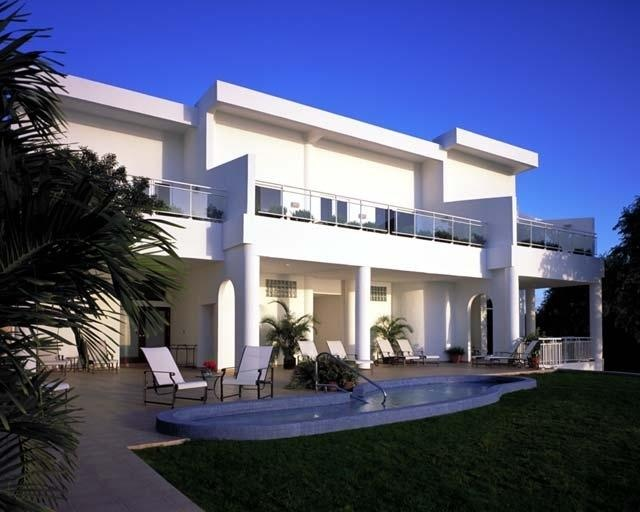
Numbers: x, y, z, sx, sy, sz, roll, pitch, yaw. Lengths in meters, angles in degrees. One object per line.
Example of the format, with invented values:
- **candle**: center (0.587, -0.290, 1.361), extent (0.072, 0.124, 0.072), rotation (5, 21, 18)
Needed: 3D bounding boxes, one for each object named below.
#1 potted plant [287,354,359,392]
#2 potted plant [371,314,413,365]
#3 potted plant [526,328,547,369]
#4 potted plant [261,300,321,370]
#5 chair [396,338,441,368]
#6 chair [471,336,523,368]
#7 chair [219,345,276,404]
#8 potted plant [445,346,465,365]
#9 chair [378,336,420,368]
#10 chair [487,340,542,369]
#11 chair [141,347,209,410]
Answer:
- **potted plant**: center (0.079, 2.749, 13.545), extent (1.098, 0.591, 1.157), rotation (-12, -19, 33)
- **potted plant**: center (2.969, 3.354, 24.196), extent (1.593, 1.801, 1.594), rotation (9, -12, -42)
- **potted plant**: center (7.761, 3.369, 20.854), extent (0.236, 1.164, 0.676), rotation (8, -2, 10)
- **potted plant**: center (-0.947, 2.837, 20.624), extent (2.137, 2.476, 2.220), rotation (7, 5, 29)
- **chair**: center (3.660, 3.753, 22.806), extent (0.977, 1.189, 1.689), rotation (7, -11, -42)
- **chair**: center (6.753, 3.530, 21.906), extent (1.755, 1.087, 1.133), rotation (2, -7, -5)
- **chair**: center (-1.512, 2.535, 12.681), extent (0.924, 1.202, 1.235), rotation (-1, -5, 22)
- **potted plant**: center (5.619, 4.058, 24.289), extent (0.742, 0.658, 0.791), rotation (8, -11, -42)
- **chair**: center (2.950, 3.699, 22.528), extent (0.944, 0.919, 1.449), rotation (6, -12, -34)
- **chair**: center (7.068, 3.461, 21.230), extent (1.750, 0.991, 1.051), rotation (7, -10, -24)
- **chair**: center (-2.893, 2.387, 11.563), extent (1.153, 1.121, 0.812), rotation (-4, -5, 36)
